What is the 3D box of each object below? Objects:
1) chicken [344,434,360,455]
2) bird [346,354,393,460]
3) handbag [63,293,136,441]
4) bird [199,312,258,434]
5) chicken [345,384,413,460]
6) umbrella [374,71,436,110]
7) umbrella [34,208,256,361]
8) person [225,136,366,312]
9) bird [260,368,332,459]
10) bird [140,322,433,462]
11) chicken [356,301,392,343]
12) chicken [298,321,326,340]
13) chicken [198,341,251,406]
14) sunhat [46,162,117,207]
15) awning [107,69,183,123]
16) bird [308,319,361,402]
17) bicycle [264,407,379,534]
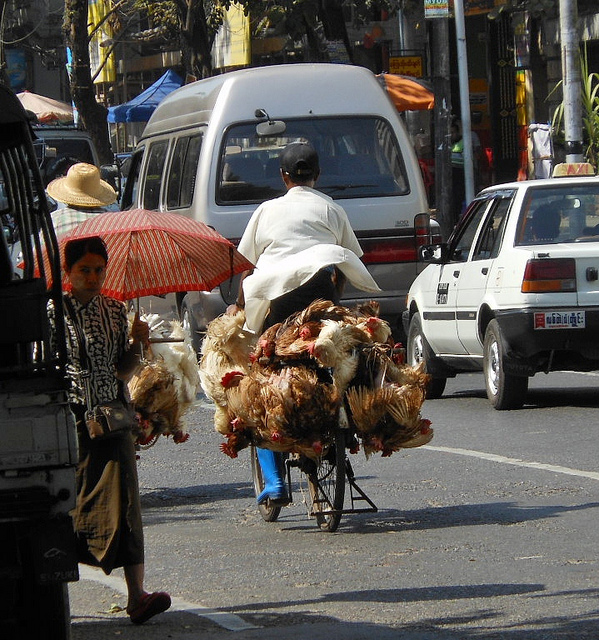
[{"bbox_3d":[0.256,0.617,5.787,0.040,0.129,0.055,-36,55,-15],"label":"chicken"},{"bbox_3d":[0.364,0.413,5.870,0.231,0.465,0.667,2,9,16],"label":"bird"},{"bbox_3d":[-0.776,0.198,4.554,0.197,0.601,0.214,-19,-22,16],"label":"handbag"},{"bbox_3d":[-0.397,0.250,6.109,0.242,0.476,0.695,1,53,5],"label":"bird"},{"bbox_3d":[0.405,0.495,5.772,0.335,0.374,0.189,-7,12,0],"label":"chicken"},{"bbox_3d":[1.963,-4.151,21.205,0.859,0.675,1.240,-4,12,13],"label":"umbrella"},{"bbox_3d":[-0.704,-0.189,5.149,0.863,0.560,0.845,4,-17,-27],"label":"umbrella"},{"bbox_3d":[-0.004,-0.447,6.438,0.725,1.048,0.694,0,10,-19],"label":"person"},{"bbox_3d":[-0.011,0.435,5.692,0.259,0.437,0.328,-10,12,-15],"label":"bird"},{"bbox_3d":[-0.156,0.337,6.239,1.710,1.063,0.614,2,1,21],"label":"bird"},{"bbox_3d":[0.364,0.012,5.873,0.159,0.180,0.306,-6,11,5],"label":"chicken"},{"bbox_3d":[0.047,0.046,5.694,0.063,0.085,0.129,5,22,43],"label":"chicken"},{"bbox_3d":[-0.424,0.248,6.048,0.278,0.318,0.353,-5,15,-19],"label":"chicken"},{"bbox_3d":[-1.626,-0.986,8.597,0.375,0.411,0.595,-7,16,-23],"label":"sunhat"},{"bbox_3d":[-4.244,-6.066,31.790,1.922,1.237,3.129,-6,11,3],"label":"awning"},{"bbox_3d":[0.233,0.183,5.694,0.176,0.308,0.475,2,-28,10],"label":"bird"},{"bbox_3d":[0.036,0.783,5.949,0.411,0.493,0.809,-4,1,-12],"label":"bicycle"}]
